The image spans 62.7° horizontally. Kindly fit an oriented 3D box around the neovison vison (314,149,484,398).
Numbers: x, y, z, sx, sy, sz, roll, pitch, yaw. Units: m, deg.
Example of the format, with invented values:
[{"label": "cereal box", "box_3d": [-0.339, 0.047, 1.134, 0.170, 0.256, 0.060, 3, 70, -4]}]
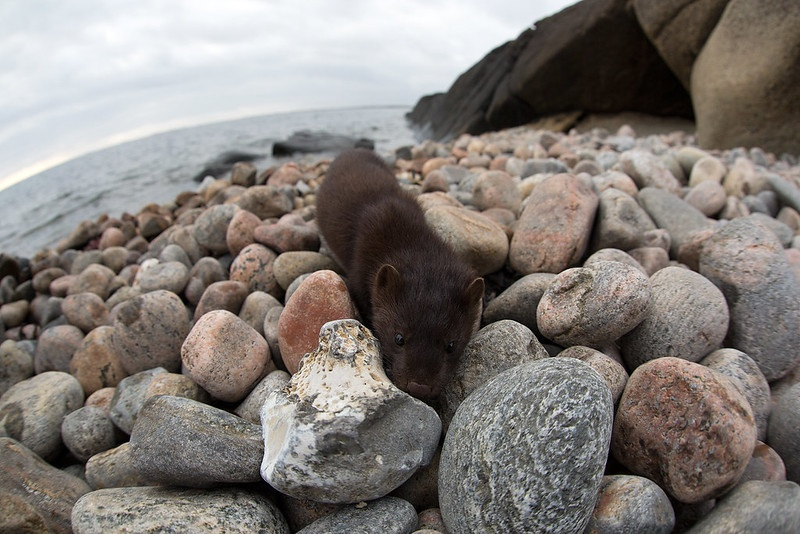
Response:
[{"label": "neovison vison", "box_3d": [-0.017, 0.016, 6.936, 1.155, 0.897, 2.789, -26, 44, -5]}]
